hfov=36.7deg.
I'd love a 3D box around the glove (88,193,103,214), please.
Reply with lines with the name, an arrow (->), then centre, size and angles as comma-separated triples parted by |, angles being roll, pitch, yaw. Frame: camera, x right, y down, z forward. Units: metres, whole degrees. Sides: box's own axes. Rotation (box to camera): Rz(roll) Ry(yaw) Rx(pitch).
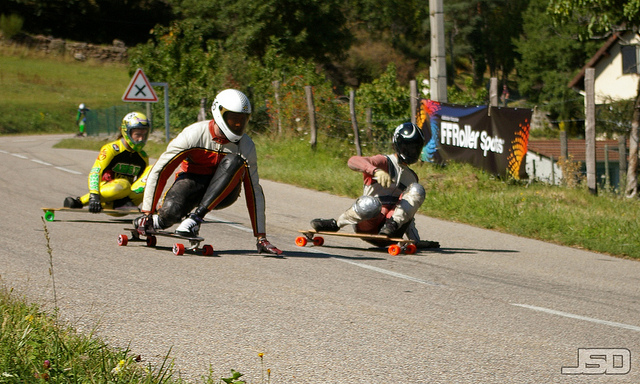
glove -> -5.589, 0.271, 23.716 | 0.310, 0.450, 0.182 | -2, -22, -25

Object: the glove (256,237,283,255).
glove -> -1.236, 1.255, 22.075 | 0.745, 0.331, 0.253 | 2, 10, 36

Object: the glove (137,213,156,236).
glove -> -3.977, 0.734, 21.941 | 0.450, 0.489, 0.145 | 5, -1, 22

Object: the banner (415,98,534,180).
banner -> 4.520, -1.669, 28.963 | 0.417, 2.162, 4.593 | -14, 17, -38

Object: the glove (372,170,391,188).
glove -> 1.436, -0.319, 22.320 | 0.421, 0.390, 0.469 | 5, -1, 3
